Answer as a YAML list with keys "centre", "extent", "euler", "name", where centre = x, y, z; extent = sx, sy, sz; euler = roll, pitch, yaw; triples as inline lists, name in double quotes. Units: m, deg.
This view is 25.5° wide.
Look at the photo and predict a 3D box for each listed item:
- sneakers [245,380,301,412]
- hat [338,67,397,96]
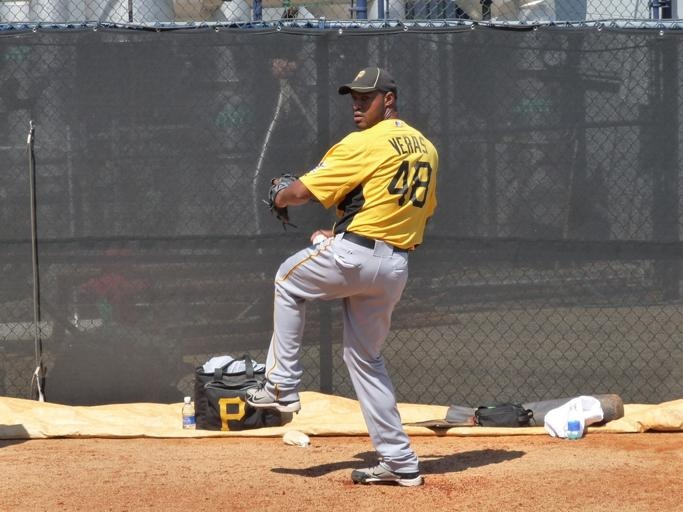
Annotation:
- centre: [-0.480, 1.013, 10.930]
  extent: [0.455, 0.260, 0.175]
  euler: [7, -8, 13]
  name: "sneakers"
- centre: [0.215, -1.240, 10.863]
  extent: [0.316, 0.158, 0.223]
  euler: [0, 1, -12]
  name: "hat"
